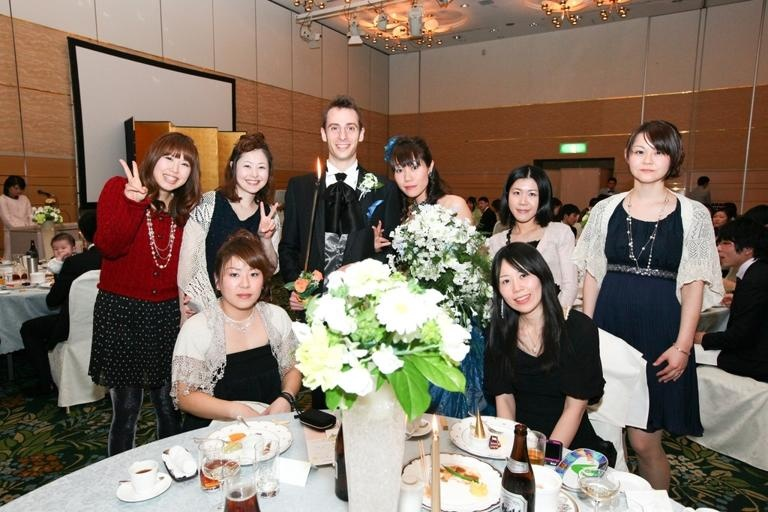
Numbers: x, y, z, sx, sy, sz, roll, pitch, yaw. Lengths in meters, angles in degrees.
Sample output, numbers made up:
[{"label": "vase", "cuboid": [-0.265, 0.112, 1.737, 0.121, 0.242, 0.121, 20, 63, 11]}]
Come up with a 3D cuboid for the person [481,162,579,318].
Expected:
[{"label": "person", "cuboid": [1.071, 0.222, 3.821, 0.670, 1.711, 0.605, -1, 4, 13]}]

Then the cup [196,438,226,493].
[{"label": "cup", "cuboid": [-0.805, 0.996, 2.394, 0.125, 0.198, 0.121, -3, -5, 0]}]

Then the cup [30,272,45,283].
[{"label": "cup", "cuboid": [-3.588, 0.228, 5.287, 0.116, 0.098, 0.116, 2, 5, 0]}]

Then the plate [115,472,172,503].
[{"label": "plate", "cuboid": [-1.107, 1.078, 2.338, 0.143, 0.033, 0.140, -1, 9, -31]}]

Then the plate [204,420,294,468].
[{"label": "plate", "cuboid": [-0.660, 0.923, 2.524, 0.347, 0.354, 0.050, 2, 33, -16]}]

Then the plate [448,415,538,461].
[{"label": "plate", "cuboid": [0.541, 0.923, 2.588, 0.401, 0.045, 0.397, 3, 12, -13]}]

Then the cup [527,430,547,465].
[{"label": "cup", "cuboid": [0.728, 0.922, 2.447, 0.087, 0.146, 0.146, 1, 3, 15]}]

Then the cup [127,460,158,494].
[{"label": "cup", "cuboid": [-1.118, 1.024, 2.371, 0.147, 0.108, 0.117, 15, -17, -32]}]

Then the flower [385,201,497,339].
[{"label": "flower", "cuboid": [0.404, 0.045, 3.288, 0.540, 0.566, 0.434, -5, 17, 17]}]

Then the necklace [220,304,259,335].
[{"label": "necklace", "cuboid": [-0.906, 0.398, 3.146, 0.166, 0.185, 0.073, -9, 8, -24]}]
